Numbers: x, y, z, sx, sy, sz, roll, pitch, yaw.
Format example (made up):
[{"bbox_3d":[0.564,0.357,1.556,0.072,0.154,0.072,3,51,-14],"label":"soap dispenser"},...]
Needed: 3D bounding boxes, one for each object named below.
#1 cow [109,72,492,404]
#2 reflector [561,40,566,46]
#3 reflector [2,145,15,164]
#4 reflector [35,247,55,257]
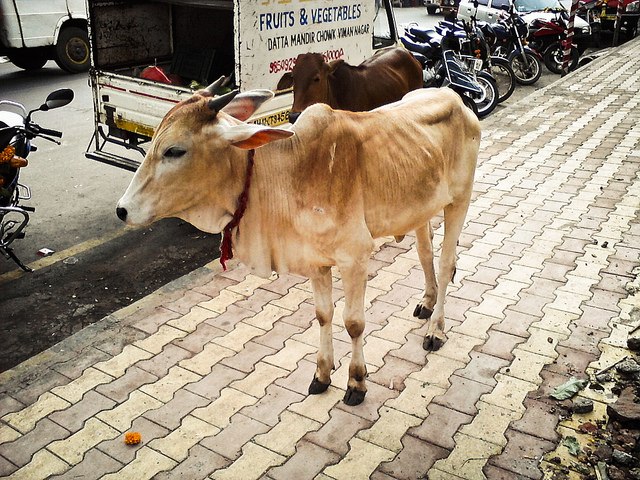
[{"bbox_3d":[0.063,-0.225,3.902,2.236,2.218,3.078,7,24,18],"label":"cow"},{"bbox_3d":[7.104,-5.808,13.698,0.084,0.158,0.607,7,23,19],"label":"reflector"},{"bbox_3d":[-3.227,-0.892,4.839,0.135,0.145,0.034,-10,-6,-27],"label":"reflector"},{"bbox_3d":[-3.199,0.133,5.445,0.106,0.024,0.106,19,31,27],"label":"reflector"}]
